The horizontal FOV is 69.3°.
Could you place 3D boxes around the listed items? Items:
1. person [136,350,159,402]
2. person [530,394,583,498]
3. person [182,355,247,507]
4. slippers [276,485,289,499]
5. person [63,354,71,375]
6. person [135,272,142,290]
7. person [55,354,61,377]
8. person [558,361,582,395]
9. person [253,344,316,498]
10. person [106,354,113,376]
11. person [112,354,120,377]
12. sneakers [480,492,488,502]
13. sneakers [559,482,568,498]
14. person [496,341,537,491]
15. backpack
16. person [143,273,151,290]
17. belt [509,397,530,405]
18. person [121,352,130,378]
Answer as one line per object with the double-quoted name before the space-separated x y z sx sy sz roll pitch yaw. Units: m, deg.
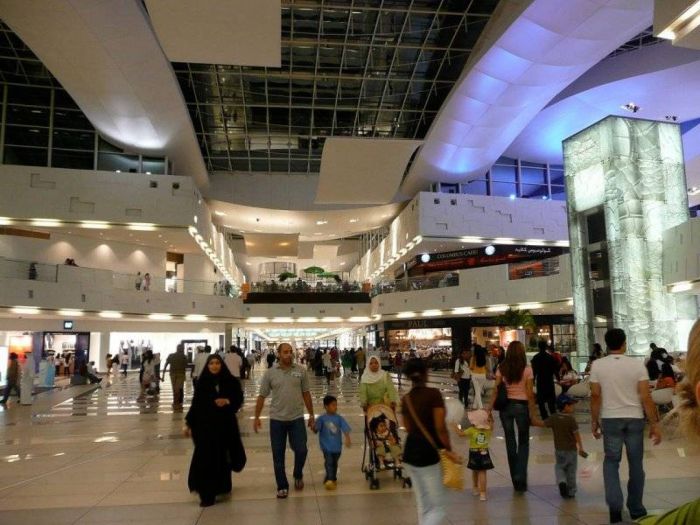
"person" -6.696 3.747 16.862 0.597 1.586 2.191 0 -11 -22
"person" 2.537 2.153 5.969 0.426 1.116 0.499 -8 -11 20
"person" -1.626 1.999 6.147 0.659 1.695 0.444 0 -11 -19
"slippers" -0.805 2.771 6.072 0.142 0.104 0.202 -2 -11 -10
"person" -15.084 5.491 27.057 0.297 1.113 0.704 2 -12 -29
"person" -10.620 0.996 25.465 0.224 0.783 0.468 -2 -10 -9
"person" -15.503 5.466 26.924 0.281 1.182 0.856 2 -12 -30
"person" 6.036 3.138 14.040 0.263 0.976 0.297 -8 14 -39
"person" -0.821 1.962 6.415 0.736 1.818 0.841 -2 -10 -7
"person" -13.577 5.770 28.545 0.311 1.213 1.515 1 -12 -26
"person" -12.777 5.678 27.613 0.313 1.195 1.579 2 -12 -29
"sneakers" 1.524 2.692 5.770 0.042 0.049 0.125 -1 -10 9
"sneakers" 2.432 2.597 5.746 0.092 0.163 0.083 -8 -11 20
"person" 2.009 1.848 6.112 0.480 1.762 0.408 -7 -11 19
"backpack" 0.719 1.530 4.333 0.426 0.780 0.190 -4 -10 3
"person" -10.445 1.047 25.978 0.272 0.888 0.542 -6 -11 12
"belt" 2.016 1.674 6.043 0.209 0.073 0.025 -6 -10 11
"person" -13.244 5.941 29.810 0.415 1.406 1.695 1 -11 -24
